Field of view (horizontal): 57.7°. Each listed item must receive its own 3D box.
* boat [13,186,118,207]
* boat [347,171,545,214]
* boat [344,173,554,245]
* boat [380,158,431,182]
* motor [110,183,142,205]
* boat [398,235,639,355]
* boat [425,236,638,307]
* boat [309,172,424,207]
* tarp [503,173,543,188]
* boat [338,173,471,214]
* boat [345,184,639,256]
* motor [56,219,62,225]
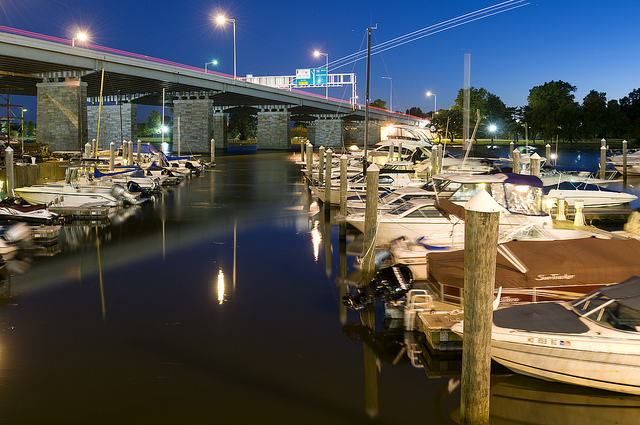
[{"bbox_3d":[-10.753,-0.698,24.002,4.236,0.939,1.433,3,4,5],"label":"boat"},{"bbox_3d":[3.750,-0.596,17.817,5.069,1.138,1.233,-4,12,13],"label":"boat"},{"bbox_3d":[3.567,-0.060,16.145,8.018,2.332,2.458,0,-1,2],"label":"boat"},{"bbox_3d":[4.289,-2.187,31.552,4.140,1.353,1.459,0,7,-8],"label":"boat"},{"bbox_3d":[-8.594,-0.770,25.607,0.498,1.085,1.916,0,9,4],"label":"motor"},{"bbox_3d":[4.275,2.047,12.704,3.940,0.956,2.734,-4,14,0],"label":"boat"},{"bbox_3d":[4.595,1.218,12.639,3.808,0.835,1.887,-6,19,-2],"label":"boat"},{"bbox_3d":[1.755,-0.870,24.381,4.998,1.375,1.623,0,6,2],"label":"boat"},{"bbox_3d":[6.004,-0.963,17.127,0.877,0.221,0.504,7,19,10],"label":"tarp"},{"bbox_3d":[2.744,-0.605,19.043,4.347,1.212,1.496,0,-6,1],"label":"boat"},{"bbox_3d":[4.514,0.231,16.143,7.536,1.684,1.975,-1,12,0],"label":"boat"},{"bbox_3d":[-9.816,0.358,21.946,0.058,0.175,0.193,-5,-2,34],"label":"motor"}]
